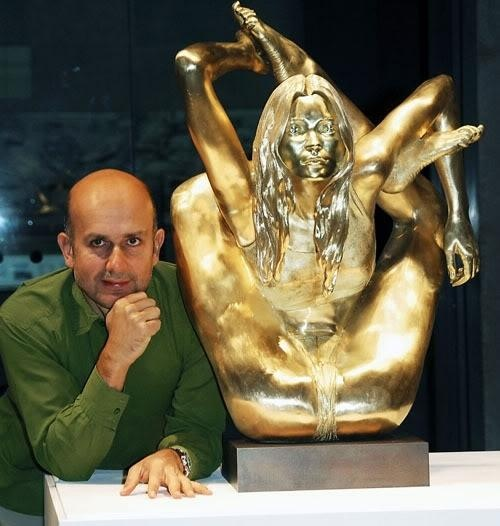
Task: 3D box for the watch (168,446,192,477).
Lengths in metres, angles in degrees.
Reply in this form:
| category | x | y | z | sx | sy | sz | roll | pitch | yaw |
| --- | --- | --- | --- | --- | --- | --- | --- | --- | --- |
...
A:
| category | x | y | z | sx | sy | sz | roll | pitch | yaw |
| --- | --- | --- | --- | --- | --- | --- | --- | --- | --- |
| watch | -0.111 | 0.321 | 1.497 | 0.014 | 0.040 | 0.030 | -25 | 28 | 0 |
